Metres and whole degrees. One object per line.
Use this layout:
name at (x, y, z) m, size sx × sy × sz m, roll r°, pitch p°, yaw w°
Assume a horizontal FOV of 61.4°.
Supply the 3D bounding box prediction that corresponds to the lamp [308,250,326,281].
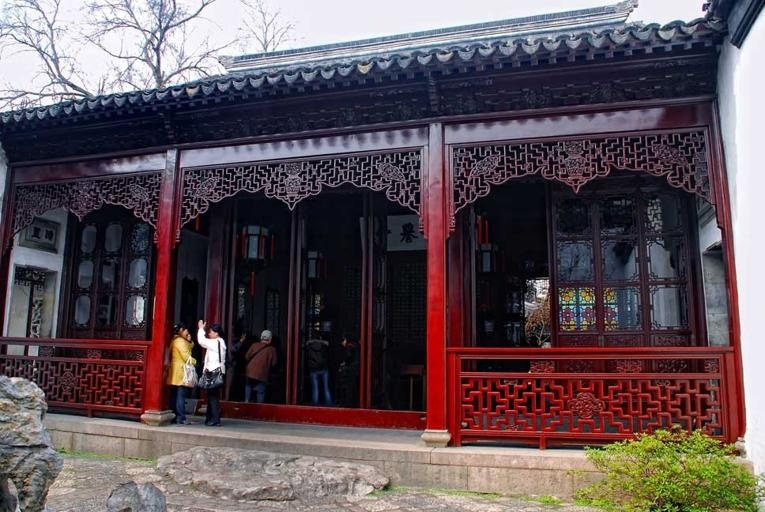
lamp at (-1.107, 0.157, 10.385) m, size 0.134 × 0.483 × 0.406 m, roll -5°, pitch -10°, yaw 30°

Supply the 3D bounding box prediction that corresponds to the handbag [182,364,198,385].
handbag at (-2.735, 1.680, 9.047) m, size 0.115 × 0.246 × 0.247 m, roll -7°, pitch -17°, yaw 4°

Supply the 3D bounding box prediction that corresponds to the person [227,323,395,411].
person at (-1.063, 1.761, 9.969) m, size 1.562 × 1.384 × 0.364 m, roll 0°, pitch -4°, yaw -2°

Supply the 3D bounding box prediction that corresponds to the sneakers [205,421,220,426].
sneakers at (-2.366, 2.334, 8.932) m, size 0.211 × 0.089 × 0.076 m, roll 5°, pitch -24°, yaw 9°

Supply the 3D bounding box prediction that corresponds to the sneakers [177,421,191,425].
sneakers at (-2.784, 2.340, 8.987) m, size 0.185 × 0.071 × 0.069 m, roll -3°, pitch -14°, yaw 3°

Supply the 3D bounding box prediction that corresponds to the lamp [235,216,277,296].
lamp at (-2.070, 0.037, 10.507) m, size 0.528 × 1.143 × 0.645 m, roll -1°, pitch -9°, yaw 7°

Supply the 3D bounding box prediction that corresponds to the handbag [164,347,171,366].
handbag at (-3.009, 1.410, 8.960) m, size 0.040 × 0.166 × 0.169 m, roll 5°, pitch -7°, yaw -28°
